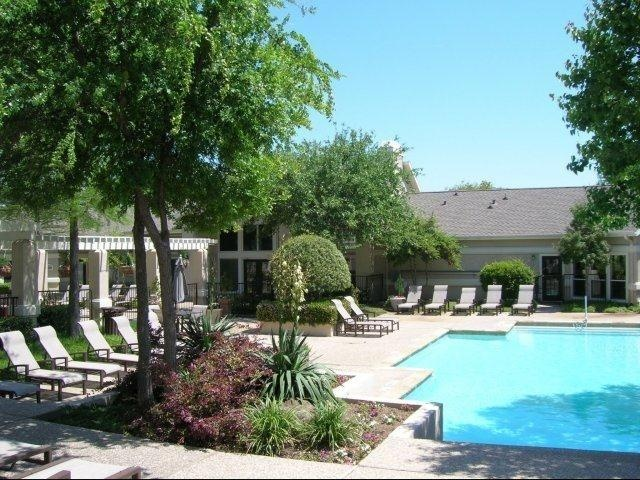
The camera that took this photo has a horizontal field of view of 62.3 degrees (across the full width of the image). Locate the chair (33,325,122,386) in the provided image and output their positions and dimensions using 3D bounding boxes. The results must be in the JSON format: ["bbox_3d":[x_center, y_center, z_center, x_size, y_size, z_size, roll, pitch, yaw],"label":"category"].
[{"bbox_3d":[-5.553,2.574,12.131,1.777,1.169,0.696,-1,1,12],"label":"chair"}]

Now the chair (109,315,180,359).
[{"bbox_3d":[-4.849,2.266,14.473,1.798,0.936,0.571,-28,-20,24],"label":"chair"}]
